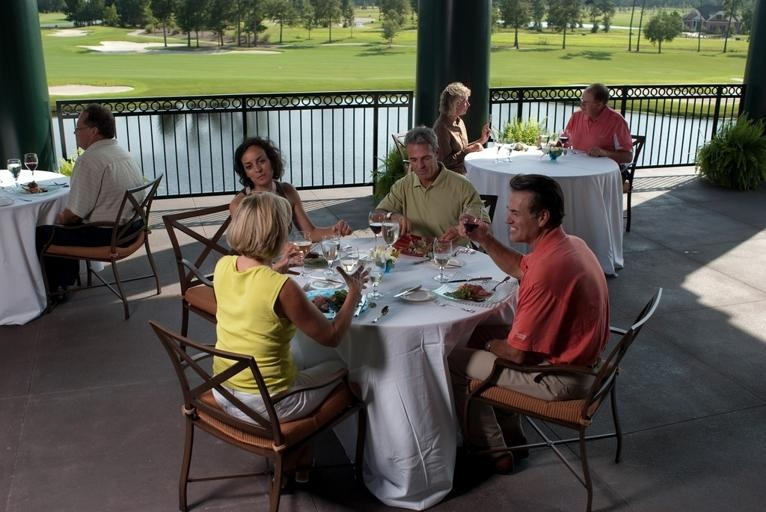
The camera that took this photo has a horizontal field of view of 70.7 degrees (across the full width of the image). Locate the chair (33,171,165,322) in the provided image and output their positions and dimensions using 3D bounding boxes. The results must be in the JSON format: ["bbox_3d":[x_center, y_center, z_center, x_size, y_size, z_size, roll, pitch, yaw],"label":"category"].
[{"bbox_3d":[-2.470,-0.131,4.845,0.836,1.132,0.743,4,16,-1],"label":"chair"}]

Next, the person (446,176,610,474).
[{"bbox_3d":[0.801,0.411,2.974,0.779,1.626,0.738,12,25,31],"label":"person"}]

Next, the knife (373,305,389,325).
[{"bbox_3d":[-0.009,0.313,2.823,0.033,0.030,0.169,5,23,17],"label":"knife"}]

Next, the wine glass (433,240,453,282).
[{"bbox_3d":[0.346,0.030,3.164,0.119,0.236,0.113,0,17,6],"label":"wine glass"}]

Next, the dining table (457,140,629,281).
[{"bbox_3d":[1.680,-0.375,5.846,1.462,0.989,1.490,1,9,22],"label":"dining table"}]

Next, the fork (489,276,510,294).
[{"bbox_3d":[0.681,0.159,3.114,0.048,0.043,0.250,23,34,19],"label":"fork"}]

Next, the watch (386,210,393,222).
[{"bbox_3d":[0.054,-0.284,3.932,0.043,0.066,0.067,0,16,6],"label":"watch"}]

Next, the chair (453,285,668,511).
[{"bbox_3d":[0.945,0.843,2.999,0.799,1.078,0.649,19,33,32],"label":"chair"}]

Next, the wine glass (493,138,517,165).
[{"bbox_3d":[1.294,-1.099,5.691,0.236,0.232,0.228,-1,17,-1],"label":"wine glass"}]

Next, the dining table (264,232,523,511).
[{"bbox_3d":[0.165,0.619,3.159,1.287,0.977,1.266,-24,39,-36],"label":"dining table"}]

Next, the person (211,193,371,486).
[{"bbox_3d":[-0.488,0.496,2.761,0.743,1.645,0.524,-14,24,-27],"label":"person"}]

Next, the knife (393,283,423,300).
[{"bbox_3d":[0.139,0.196,3.029,0.234,0.057,0.012,-25,-1,-44],"label":"knife"}]

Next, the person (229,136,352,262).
[{"bbox_3d":[-0.754,-0.385,3.906,0.603,0.877,0.848,-20,18,-34],"label":"person"}]

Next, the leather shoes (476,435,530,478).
[{"bbox_3d":[0.733,1.148,3.196,0.144,0.187,0.439,6,16,34],"label":"leather shoes"}]

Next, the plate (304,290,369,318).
[{"bbox_3d":[-0.287,0.237,2.877,0.178,0.032,0.220,-12,23,-29],"label":"plate"}]

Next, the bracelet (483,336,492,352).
[{"bbox_3d":[0.603,0.508,3.050,0.014,0.061,0.061,17,9,-9],"label":"bracelet"}]

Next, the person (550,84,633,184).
[{"bbox_3d":[2.359,-1.304,6.100,0.933,1.212,0.507,17,37,36],"label":"person"}]

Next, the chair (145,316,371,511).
[{"bbox_3d":[-0.618,0.880,2.850,0.647,0.991,0.709,15,29,31],"label":"chair"}]

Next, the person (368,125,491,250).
[{"bbox_3d":[0.370,-0.399,4.030,0.844,1.088,0.663,2,33,26],"label":"person"}]
